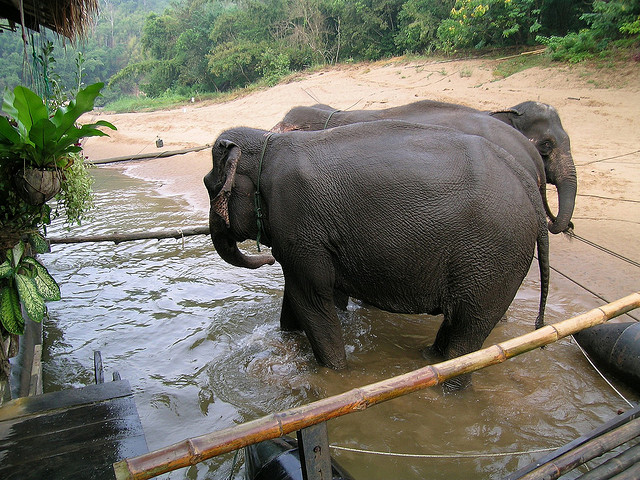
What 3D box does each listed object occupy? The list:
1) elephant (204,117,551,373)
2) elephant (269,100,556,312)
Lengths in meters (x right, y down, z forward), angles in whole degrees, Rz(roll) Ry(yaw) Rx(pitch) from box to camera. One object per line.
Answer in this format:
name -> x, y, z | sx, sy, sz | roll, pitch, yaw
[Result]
elephant -> 0.383, 0.003, 4.728 | 3.119, 2.290, 1.430 | 8, 29, 14
elephant -> 1.143, -0.778, 5.705 | 3.417, 1.907, 1.457 | 5, 18, 9
